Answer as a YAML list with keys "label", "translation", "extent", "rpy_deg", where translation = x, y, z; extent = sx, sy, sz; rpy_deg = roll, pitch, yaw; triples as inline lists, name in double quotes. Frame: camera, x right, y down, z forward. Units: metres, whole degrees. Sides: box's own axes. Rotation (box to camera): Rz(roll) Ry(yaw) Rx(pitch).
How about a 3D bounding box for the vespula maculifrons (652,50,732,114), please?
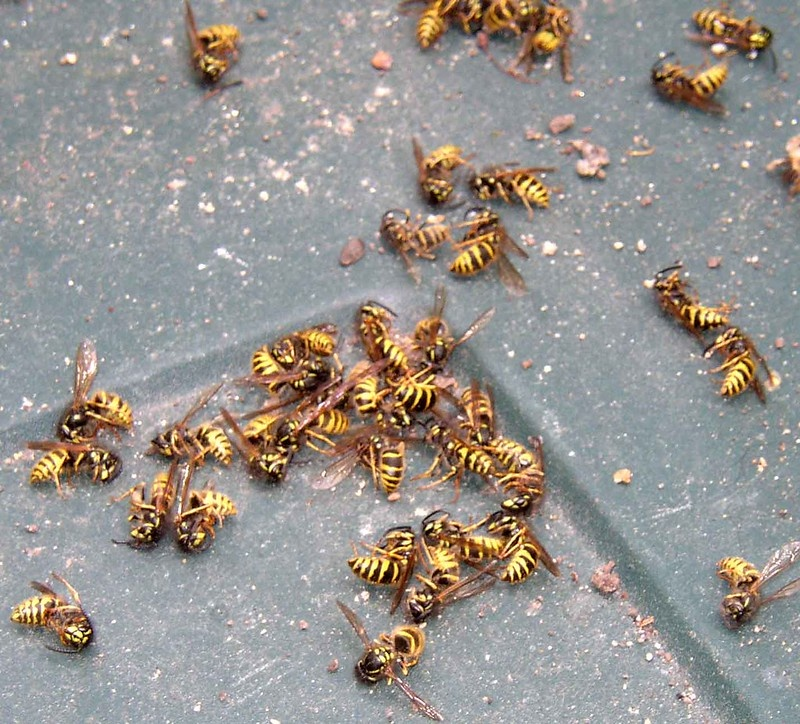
- label: "vespula maculifrons"
  translation: [1.416, -1.388, 5.067]
  extent: [0.385, 0.192, 0.238]
  rpy_deg: [17, 63, 2]

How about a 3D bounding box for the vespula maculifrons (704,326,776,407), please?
- label: "vespula maculifrons"
  translation: [1.561, 0.002, 4.814]
  extent: [0.113, 0.370, 0.261]
  rpy_deg: [-33, 56, -20]
